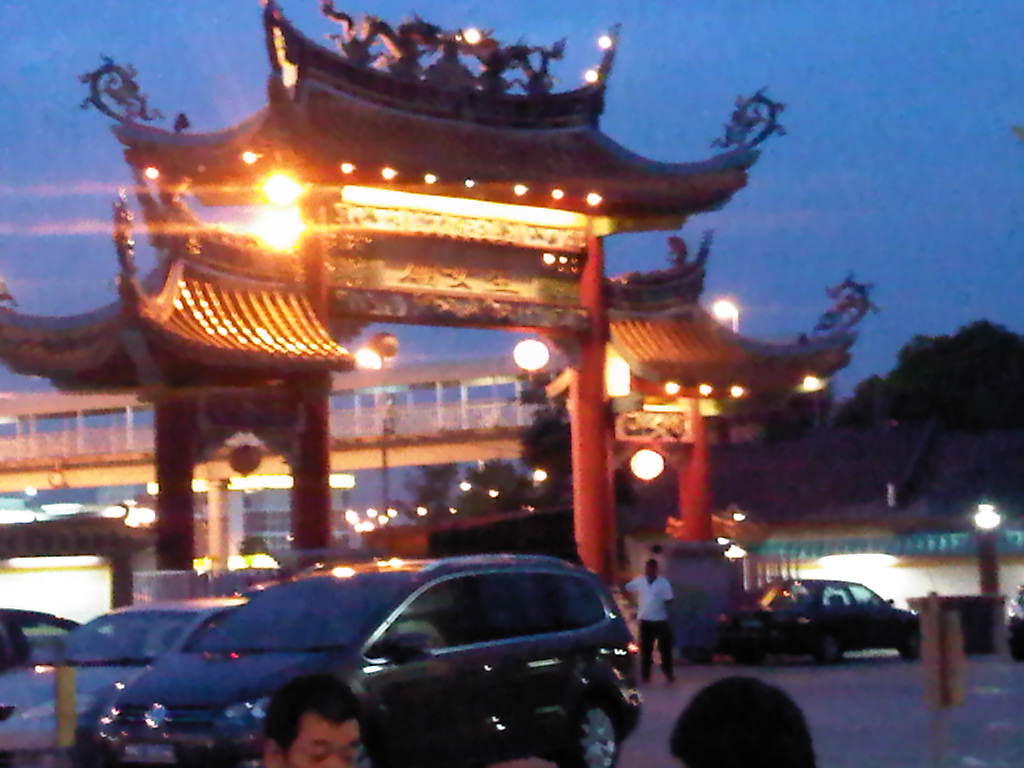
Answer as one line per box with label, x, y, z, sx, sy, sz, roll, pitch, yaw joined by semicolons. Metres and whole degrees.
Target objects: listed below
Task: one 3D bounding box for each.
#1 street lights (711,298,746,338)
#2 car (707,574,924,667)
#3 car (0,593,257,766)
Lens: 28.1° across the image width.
street lights;4.881;-1.506;46.463;0.531;0.733;1.051;-2;-12;-2
car;6.249;4.789;41.096;3.829;1.763;1.410;3;-14;-25
car;-5.980;4.154;28.769;2.001;1.570;3.569;-8;-13;30
